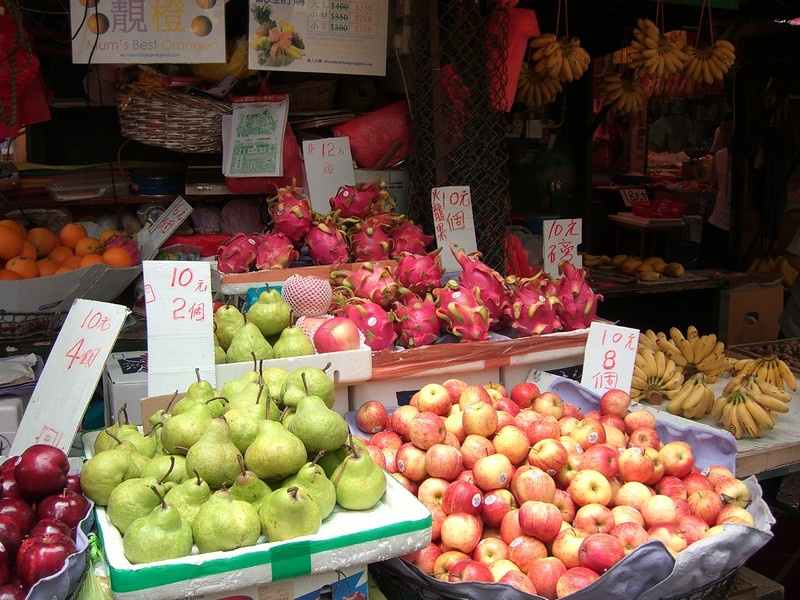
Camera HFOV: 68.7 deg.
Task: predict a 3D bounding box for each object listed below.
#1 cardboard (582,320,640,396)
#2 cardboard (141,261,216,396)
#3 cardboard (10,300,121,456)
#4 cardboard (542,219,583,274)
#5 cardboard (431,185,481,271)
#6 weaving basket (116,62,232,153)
[{"bbox_3d":[0.891,0.265,2.478,0.186,0.038,0.336,-2,49,33],"label":"cardboard"},{"bbox_3d":[-0.754,0.063,2.026,0.207,0.469,0.012,-2,40,-20],"label":"cardboard"},{"bbox_3d":[-1.112,0.263,1.952,0.259,0.438,0.386,13,25,30],"label":"cardboard"},{"bbox_3d":[0.963,-0.310,3.446,0.217,0.332,0.016,-5,22,5],"label":"cardboard"},{"bbox_3d":[0.291,-0.425,3.215,0.230,0.028,0.491,0,54,4],"label":"cardboard"},{"bbox_3d":[-1.466,-1.164,3.817,0.492,0.319,0.610,31,23,34],"label":"weaving basket"}]
